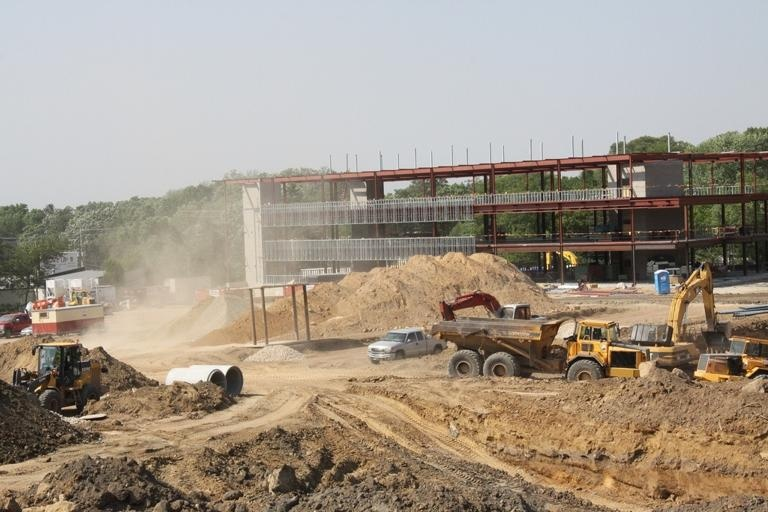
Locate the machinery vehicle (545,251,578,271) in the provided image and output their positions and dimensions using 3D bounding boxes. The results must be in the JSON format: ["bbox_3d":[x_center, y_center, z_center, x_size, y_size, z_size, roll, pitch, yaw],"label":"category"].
[{"bbox_3d":[19.364,1.198,93.374,2.846,2.515,3.842,2,4,38],"label":"machinery vehicle"}]

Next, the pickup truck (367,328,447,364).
[{"bbox_3d":[1.290,4.914,45.806,4.401,1.902,2.289,-1,-1,-43],"label":"pickup truck"}]

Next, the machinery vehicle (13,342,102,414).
[{"bbox_3d":[-14.044,5.361,36.695,3.486,2.275,2.035,6,1,-25],"label":"machinery vehicle"}]
